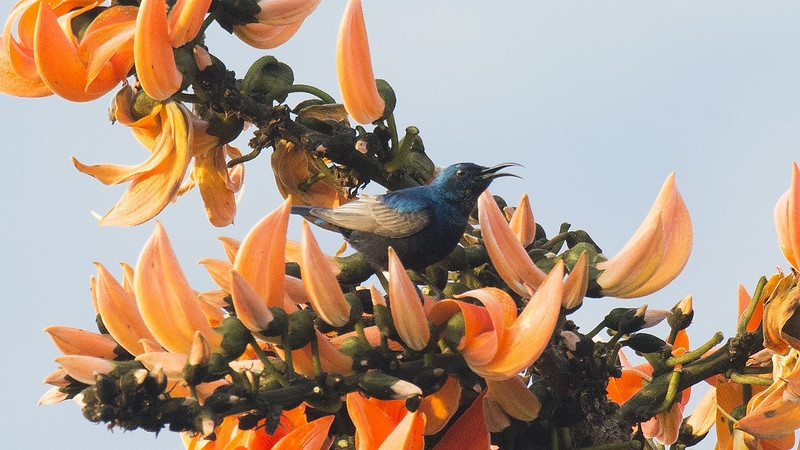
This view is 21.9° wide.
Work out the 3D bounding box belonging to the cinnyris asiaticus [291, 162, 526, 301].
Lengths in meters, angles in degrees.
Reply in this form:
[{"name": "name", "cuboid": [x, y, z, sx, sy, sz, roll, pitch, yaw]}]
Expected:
[{"name": "cinnyris asiaticus", "cuboid": [-0.020, -0.036, 6.332, 0.756, 0.361, 0.245, 6, 5, 15]}]
